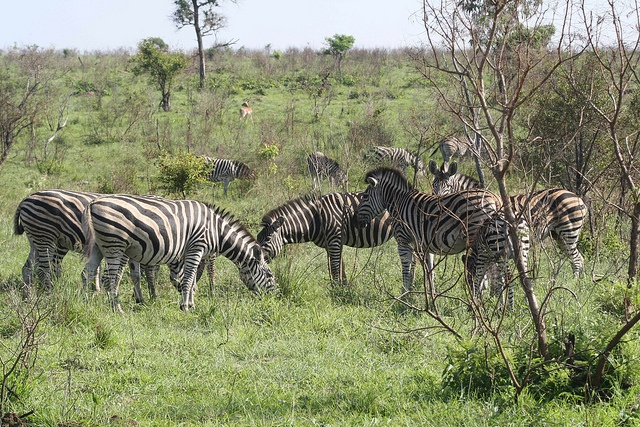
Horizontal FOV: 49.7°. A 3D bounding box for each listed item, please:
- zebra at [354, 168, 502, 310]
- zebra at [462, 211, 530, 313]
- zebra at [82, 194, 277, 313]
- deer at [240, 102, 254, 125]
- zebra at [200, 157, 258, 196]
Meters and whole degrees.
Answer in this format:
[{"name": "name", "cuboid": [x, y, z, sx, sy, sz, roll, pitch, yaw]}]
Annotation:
[{"name": "zebra", "cuboid": [2.117, 0.441, 13.564, 3.212, 2.563, 1.015, 4, 9, 33]}, {"name": "zebra", "cuboid": [3.174, 0.608, 12.321, 0.595, 1.574, 2.162, -24, 4, -9]}, {"name": "zebra", "cuboid": [-2.635, 0.889, 13.129, 3.721, 2.222, 1.024, 5, -7, -22]}, {"name": "deer", "cuboid": [-2.933, -4.053, 27.919, 0.542, 0.971, 1.859, 1, -5, -5]}, {"name": "zebra", "cuboid": [-2.959, -1.100, 21.538, 1.798, 1.273, 2.040, 4, -6, -33]}]
